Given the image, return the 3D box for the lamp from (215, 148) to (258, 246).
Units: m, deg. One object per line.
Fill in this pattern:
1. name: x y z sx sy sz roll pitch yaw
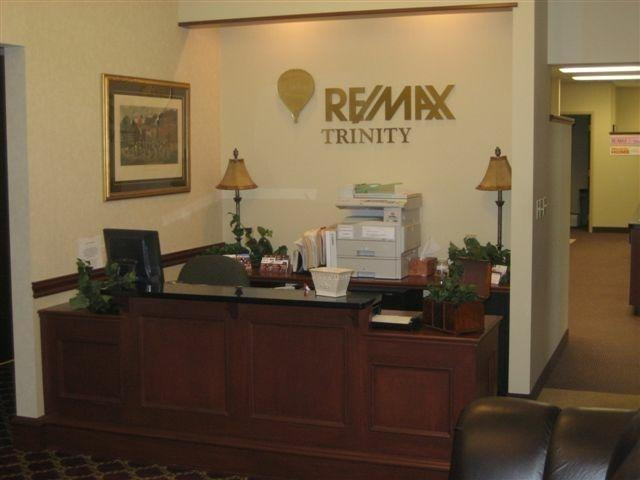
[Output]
1. lamp: -0.857 -0.469 5.976 0.417 0.957 0.464 0 9 -6

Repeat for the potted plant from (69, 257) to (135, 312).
1. potted plant: -1.479 0.336 4.067 0.428 0.385 0.432 6 4 41

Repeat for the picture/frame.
1. picture/frame: -1.533 -0.900 5.093 1.137 1.010 0.041 7 8 33

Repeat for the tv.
1. tv: -1.313 0.155 4.033 0.421 0.480 0.198 1 5 16
